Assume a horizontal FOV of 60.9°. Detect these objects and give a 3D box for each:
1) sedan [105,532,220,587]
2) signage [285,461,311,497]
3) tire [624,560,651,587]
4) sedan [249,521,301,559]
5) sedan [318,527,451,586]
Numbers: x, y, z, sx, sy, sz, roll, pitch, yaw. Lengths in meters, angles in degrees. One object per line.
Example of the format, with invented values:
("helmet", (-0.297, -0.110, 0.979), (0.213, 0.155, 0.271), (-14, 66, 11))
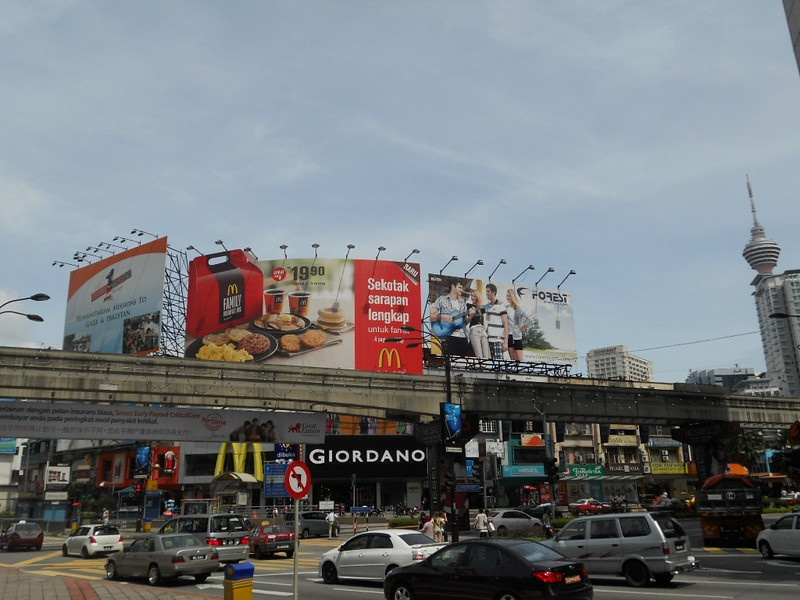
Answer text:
("sedan", (-9.913, 10.434, 27.519), (5.287, 1.814, 1.494), (-11, -18, 27))
("signage", (-3.053, 5.339, 20.190), (0.694, 1.069, 0.865), (-1, -17, -10))
("tire", (8.095, 9.232, 23.006), (1.044, 0.937, 0.378), (-7, -12, 43))
("sedan", (-6.716, 12.371, 34.899), (2.202, 1.617, 1.166), (-12, -19, 26))
("sedan", (-0.933, 9.533, 25.499), (5.001, 1.586, 2.220), (-12, -24, 28))
